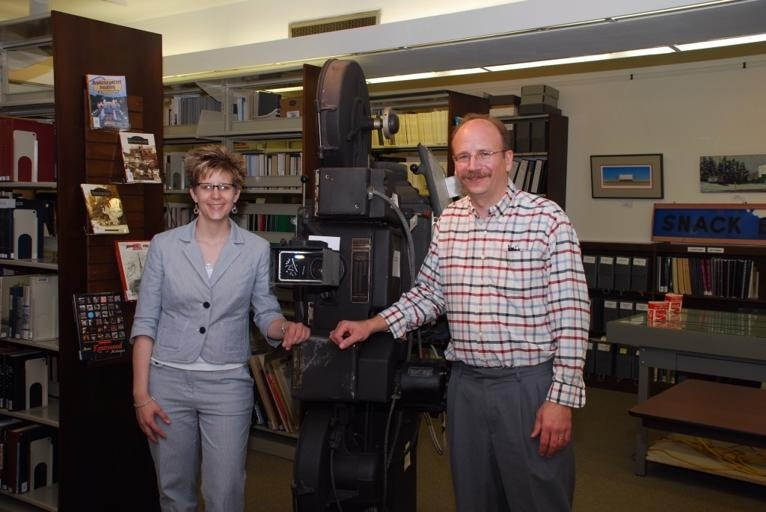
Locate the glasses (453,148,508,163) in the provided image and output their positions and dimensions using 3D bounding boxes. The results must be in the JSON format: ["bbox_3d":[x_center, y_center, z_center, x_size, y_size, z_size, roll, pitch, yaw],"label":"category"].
[{"bbox_3d":[0.448,-0.459,2.535,0.234,0.062,0.087,2,5,9],"label":"glasses"}]

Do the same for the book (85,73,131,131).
[{"bbox_3d":[-1.758,-0.974,3.499,0.244,0.342,0.120,-2,5,-29],"label":"book"}]

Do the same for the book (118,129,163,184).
[{"bbox_3d":[-1.592,-0.635,3.561,0.312,0.423,0.029,-12,3,-42],"label":"book"}]

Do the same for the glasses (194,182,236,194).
[{"bbox_3d":[-0.826,-0.337,2.715,0.176,0.043,0.049,-2,5,-27],"label":"glasses"}]
